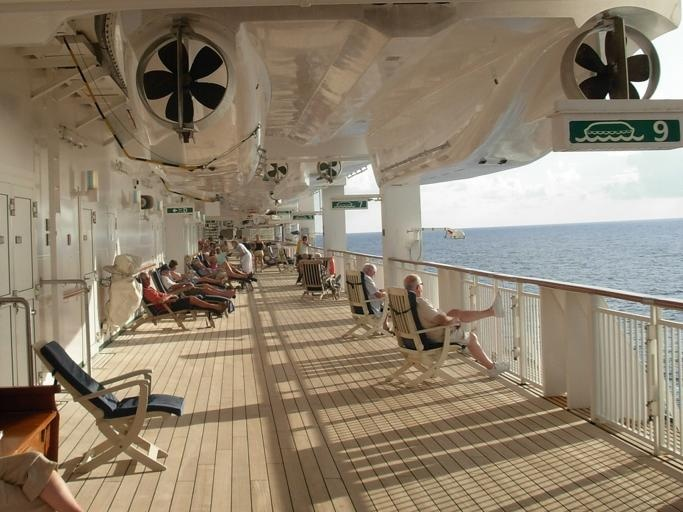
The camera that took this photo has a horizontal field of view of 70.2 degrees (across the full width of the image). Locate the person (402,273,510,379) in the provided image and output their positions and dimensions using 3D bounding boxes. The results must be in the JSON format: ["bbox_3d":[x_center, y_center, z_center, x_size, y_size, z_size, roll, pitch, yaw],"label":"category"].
[{"bbox_3d":[1.460,0.979,6.100,1.200,1.147,0.405,-2,5,7],"label":"person"}]

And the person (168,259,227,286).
[{"bbox_3d":[-3.960,0.490,13.344,1.048,0.673,0.567,11,4,29],"label":"person"}]

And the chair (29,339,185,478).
[{"bbox_3d":[-2.131,1.402,4.552,1.281,1.072,0.878,3,-7,-25],"label":"chair"}]

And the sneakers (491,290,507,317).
[{"bbox_3d":[1.924,0.595,5.943,0.114,0.345,0.147,6,-3,35],"label":"sneakers"}]

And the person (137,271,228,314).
[{"bbox_3d":[-3.340,0.759,10.519,1.723,0.948,0.842,1,12,4],"label":"person"}]

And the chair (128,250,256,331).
[{"bbox_3d":[-3.458,0.899,10.863,1.822,1.212,1.367,0,0,-3],"label":"chair"}]
